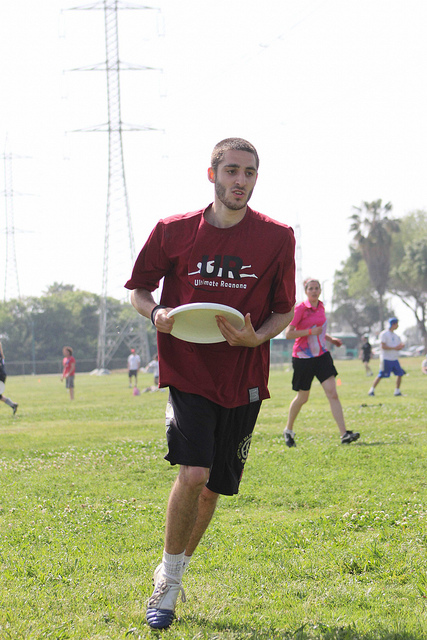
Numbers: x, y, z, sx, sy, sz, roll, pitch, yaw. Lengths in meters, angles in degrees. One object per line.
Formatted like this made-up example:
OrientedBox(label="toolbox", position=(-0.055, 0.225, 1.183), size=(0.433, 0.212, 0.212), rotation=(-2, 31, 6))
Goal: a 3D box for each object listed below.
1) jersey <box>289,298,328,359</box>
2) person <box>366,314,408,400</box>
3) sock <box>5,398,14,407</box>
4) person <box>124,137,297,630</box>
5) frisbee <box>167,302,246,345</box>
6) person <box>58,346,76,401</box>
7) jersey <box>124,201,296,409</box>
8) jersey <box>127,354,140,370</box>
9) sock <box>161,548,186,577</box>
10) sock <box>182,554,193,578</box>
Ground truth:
OrientedBox(label="jersey", position=(1.129, 0.085, 10.548), size=(0.504, 0.636, 0.336), rotation=(2, 8, 2))
OrientedBox(label="person", position=(3.201, 0.709, 17.285), size=(0.722, 1.467, 0.457), rotation=(0, 1, 29))
OrientedBox(label="sock", position=(-2.793, 1.153, 13.222), size=(0.119, 0.122, 0.142), rotation=(2, 0, -13))
OrientedBox(label="person", position=(0.005, 0.266, 5.048), size=(0.883, 2.412, 0.790), rotation=(2, 0, -8))
OrientedBox(label="frisbee", position=(-0.036, 0.027, 4.892), size=(0.360, 0.199, 0.373), rotation=(2, -1, -37))
OrientedBox(label="person", position=(-2.259, 0.870, 14.933), size=(0.220, 0.843, 1.210), rotation=(2, -1, -8))
OrientedBox(label="jersey", position=(0.016, -0.076, 5.189), size=(0.883, 1.032, 0.422), rotation=(2, 0, -6))
OrientedBox(label="jersey", position=(-2.183, 1.208, 26.889), size=(0.476, 0.546, 0.308), rotation=(1, -10, -2))
OrientedBox(label="sock", position=(-0.194, 1.242, 4.937), size=(0.093, 0.133, 0.134), rotation=(4, -1, 7))
OrientedBox(label="sock", position=(-0.136, 1.289, 5.024), size=(0.065, 0.080, 0.086), rotation=(1, 23, 1))
